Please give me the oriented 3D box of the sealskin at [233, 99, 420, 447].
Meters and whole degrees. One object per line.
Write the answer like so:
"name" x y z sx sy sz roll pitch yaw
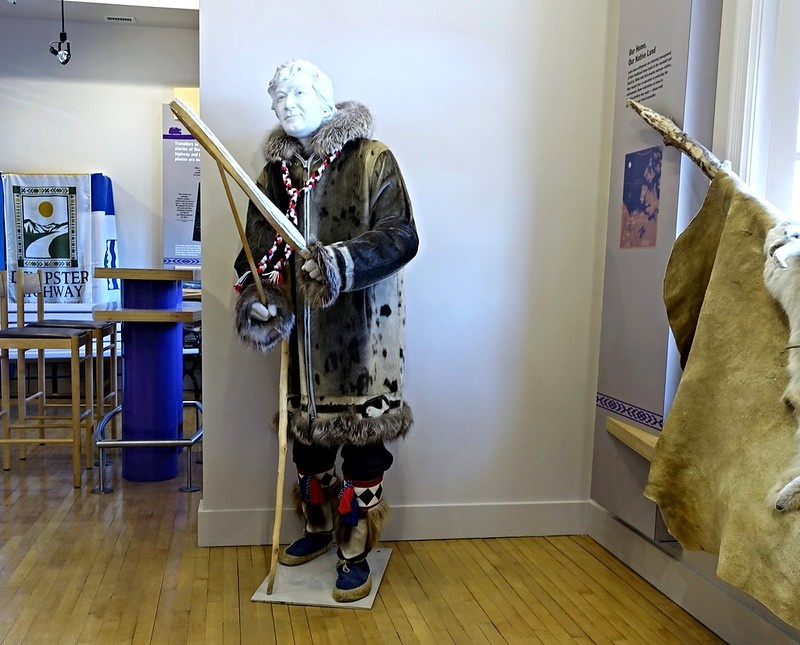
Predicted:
"sealskin" -0.272 -0.136 2.423 0.436 1.453 0.538 0 10 -25

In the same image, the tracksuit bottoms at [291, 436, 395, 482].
"tracksuit bottoms" -0.213 0.466 2.532 0.261 0.184 0.271 1 6 -32

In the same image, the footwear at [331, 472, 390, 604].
"footwear" -0.150 0.764 2.476 0.152 0.428 0.187 5 6 -18
